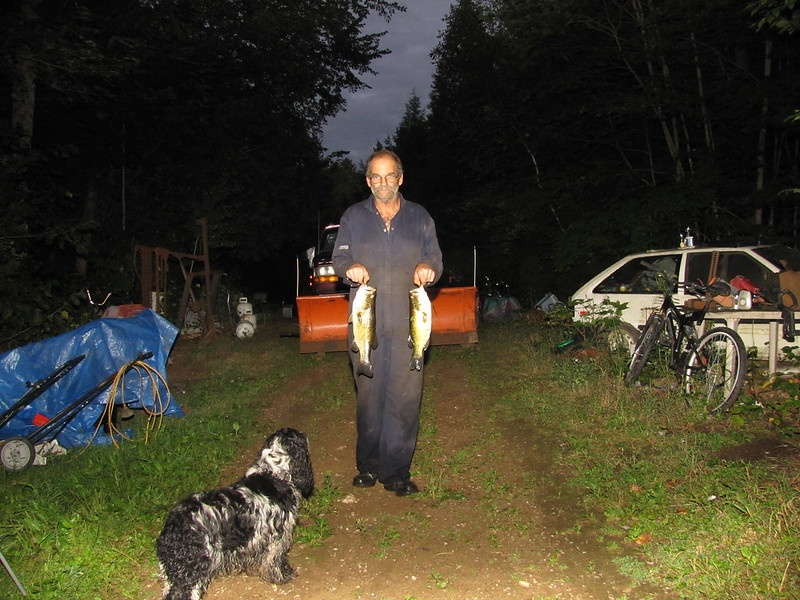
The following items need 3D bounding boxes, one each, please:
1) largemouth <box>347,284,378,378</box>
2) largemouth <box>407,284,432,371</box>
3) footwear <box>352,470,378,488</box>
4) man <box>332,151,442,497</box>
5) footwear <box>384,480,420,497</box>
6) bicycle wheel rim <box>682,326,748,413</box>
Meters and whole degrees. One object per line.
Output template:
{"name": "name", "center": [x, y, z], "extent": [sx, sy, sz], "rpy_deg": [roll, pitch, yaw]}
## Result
{"name": "largemouth", "center": [-0.340, 0.270, 5.493], "extent": [0.294, 0.944, 0.207], "rpy_deg": [-2, 7, -18]}
{"name": "largemouth", "center": [0.195, 0.218, 5.612], "extent": [0.290, 0.860, 0.168], "rpy_deg": [1, 5, 5]}
{"name": "footwear", "center": [-0.361, 1.809, 5.957], "extent": [0.119, 0.102, 0.236], "rpy_deg": [-2, -11, 31]}
{"name": "man", "center": [-0.108, 0.255, 5.731], "extent": [0.986, 3.323, 0.493], "rpy_deg": [-1, 11, 1]}
{"name": "footwear", "center": [0.010, 1.851, 5.855], "extent": [0.246, 0.088, 0.164], "rpy_deg": [2, 5, 12]}
{"name": "bicycle wheel rim", "center": [3.756, 0.816, 7.125], "extent": [0.553, 0.932, 0.710], "rpy_deg": [-1, 11, 0]}
